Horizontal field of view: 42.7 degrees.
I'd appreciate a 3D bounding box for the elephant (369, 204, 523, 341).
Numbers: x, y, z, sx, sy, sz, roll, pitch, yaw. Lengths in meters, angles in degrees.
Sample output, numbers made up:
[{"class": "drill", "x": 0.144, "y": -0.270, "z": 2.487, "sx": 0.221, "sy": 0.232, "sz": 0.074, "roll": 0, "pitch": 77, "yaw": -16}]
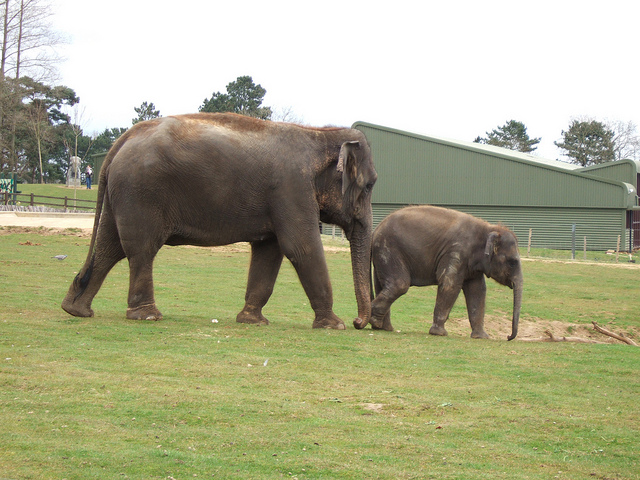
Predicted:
[{"class": "elephant", "x": 2.286, "y": 0.630, "z": 15.148, "sx": 2.962, "sy": 2.259, "sz": 1.352, "roll": 2, "pitch": -4, "yaw": 7}]
